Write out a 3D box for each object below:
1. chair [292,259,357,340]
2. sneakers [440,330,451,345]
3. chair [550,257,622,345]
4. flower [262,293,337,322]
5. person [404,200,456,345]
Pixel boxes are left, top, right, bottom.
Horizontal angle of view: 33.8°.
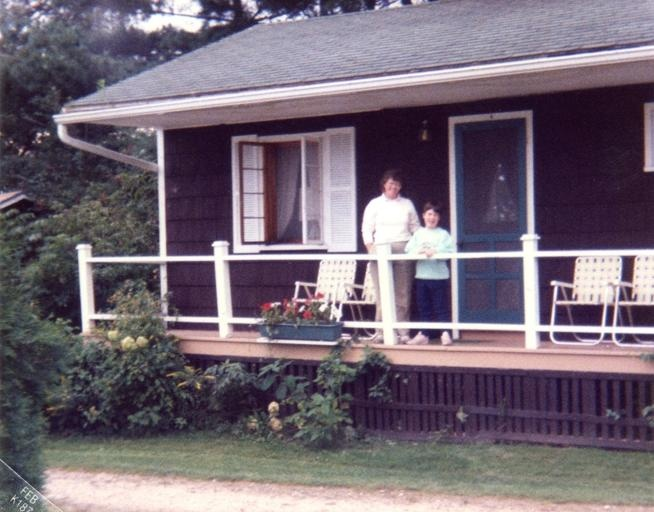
[{"bbox_3d":[-0.106,0.466,14.254,0.887,1.163,0.859,1,-5,30],"label":"chair"},{"bbox_3d":[1.443,1.006,13.114,0.136,0.145,0.178,-1,-6,-3],"label":"sneakers"},{"bbox_3d":[3.156,0.542,13.165,0.823,1.088,1.601,0,0,12],"label":"chair"},{"bbox_3d":[-0.355,0.680,13.403,0.688,0.222,0.428,-3,2,20],"label":"flower"},{"bbox_3d":[1.291,0.213,13.569,0.583,1.749,1.371,0,-1,6],"label":"person"}]
